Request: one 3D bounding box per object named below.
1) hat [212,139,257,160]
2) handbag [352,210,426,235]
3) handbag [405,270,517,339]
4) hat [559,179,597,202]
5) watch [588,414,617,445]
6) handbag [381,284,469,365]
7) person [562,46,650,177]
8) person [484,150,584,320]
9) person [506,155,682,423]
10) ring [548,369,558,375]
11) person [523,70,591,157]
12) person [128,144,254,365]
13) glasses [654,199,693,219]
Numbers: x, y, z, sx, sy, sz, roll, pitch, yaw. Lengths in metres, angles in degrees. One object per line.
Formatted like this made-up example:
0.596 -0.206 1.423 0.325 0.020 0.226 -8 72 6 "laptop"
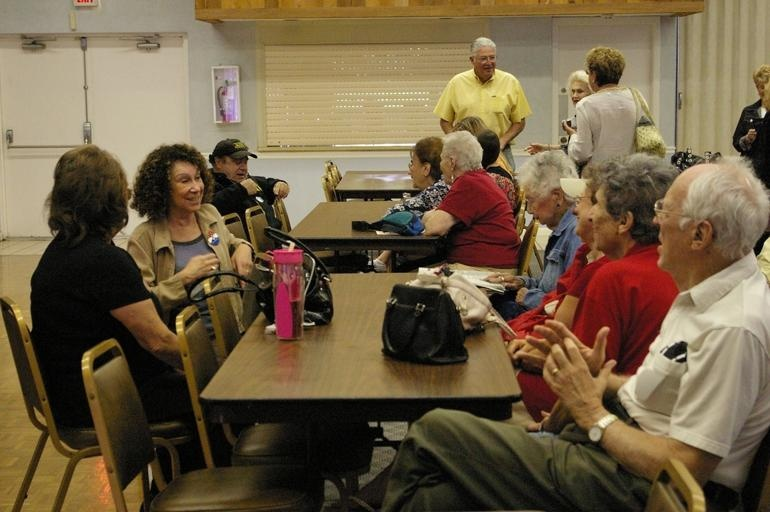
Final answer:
-1.304 -0.881 5.431 0.411 0.189 0.279 -1 5 6 "hat"
0.040 -0.203 4.236 0.297 0.118 0.208 1 -2 6 "handbag"
0.281 0.124 2.620 0.376 0.140 0.301 0 14 36 "handbag"
0.923 -0.337 3.195 0.146 0.107 0.152 0 1 -7 "hat"
0.681 0.541 2.045 0.078 0.087 0.051 -6 32 -29 "watch"
0.115 0.241 2.386 0.198 0.264 0.344 2 0 -42 "handbag"
1.868 -1.158 5.497 0.701 1.228 0.582 -18 34 -9 "person"
0.840 0.037 3.659 0.647 1.160 0.563 2 -2 0 "person"
0.812 0.236 2.684 0.672 1.279 0.621 9 27 23 "person"
0.547 0.375 2.132 0.017 0.007 0.017 -18 5 2 "ring"
1.737 -1.342 6.276 0.670 0.829 0.530 1 12 -7 "person"
-1.082 -0.083 3.572 0.545 1.062 0.656 9 24 38 "person"
0.900 -0.145 2.079 0.067 0.023 0.070 13 10 3 "glasses"
